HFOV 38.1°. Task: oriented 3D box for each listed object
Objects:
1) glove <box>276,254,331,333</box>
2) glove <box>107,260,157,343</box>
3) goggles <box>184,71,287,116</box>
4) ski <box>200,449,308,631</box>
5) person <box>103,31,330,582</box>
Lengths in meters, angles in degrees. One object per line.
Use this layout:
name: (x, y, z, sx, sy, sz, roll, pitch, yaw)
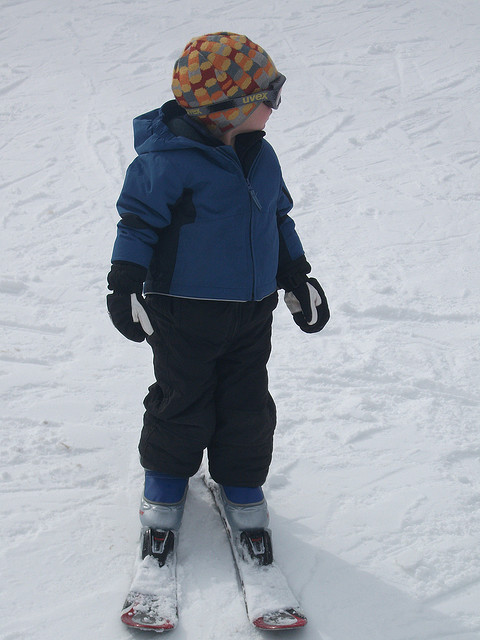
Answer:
glove: (0.196, -0.077, 2.176, 0.160, 0.251, 0.083, 2, 21, 9)
glove: (-0.275, -0.058, 1.890, 0.179, 0.193, 0.083, 7, 42, 6)
goggles: (-0.008, -0.600, 1.872, 0.214, 0.044, 0.147, -20, 29, -1)
ski: (-0.025, 0.644, 2.127, 0.165, 0.128, 0.701, -4, 34, -21)
person: (-0.060, -0.036, 1.954, 0.539, 1.473, 0.730, 4, 20, 12)
